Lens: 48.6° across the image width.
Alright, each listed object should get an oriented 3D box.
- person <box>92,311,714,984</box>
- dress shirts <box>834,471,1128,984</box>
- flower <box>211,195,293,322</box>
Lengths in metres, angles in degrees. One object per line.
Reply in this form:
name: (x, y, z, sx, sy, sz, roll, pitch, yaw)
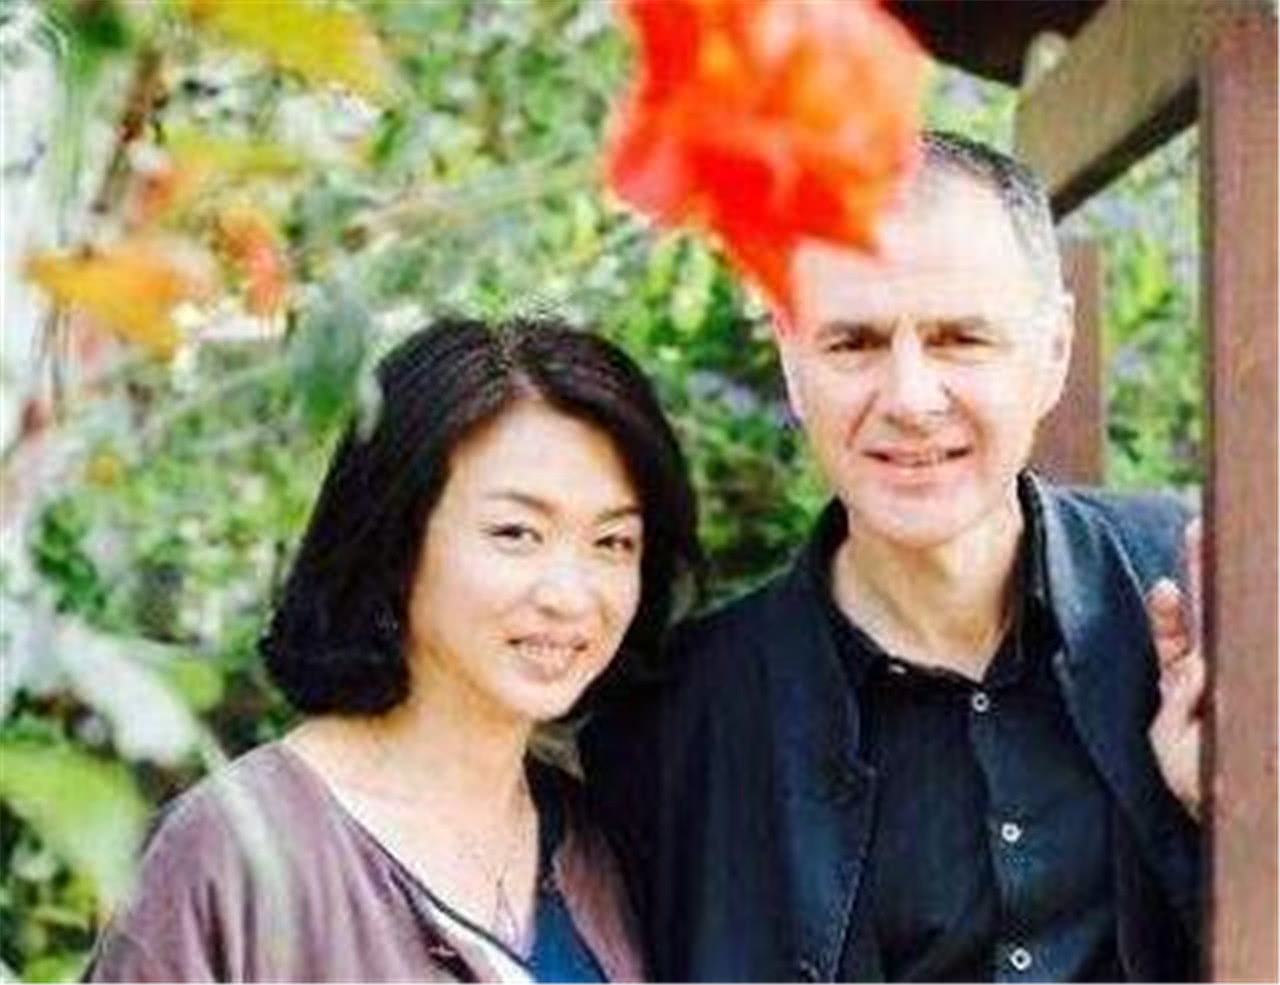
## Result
person: (-0.311, 0.167, 1.761, 0.572, 0.619, 0.303, 23, -5, -32)
dress shirts: (0.439, 0.301, 1.879, 0.377, 0.623, 0.164, 0, -3, -2)
flower: (-0.475, -0.282, 1.752, 0.077, 0.151, 0.036, -16, 3, 10)
